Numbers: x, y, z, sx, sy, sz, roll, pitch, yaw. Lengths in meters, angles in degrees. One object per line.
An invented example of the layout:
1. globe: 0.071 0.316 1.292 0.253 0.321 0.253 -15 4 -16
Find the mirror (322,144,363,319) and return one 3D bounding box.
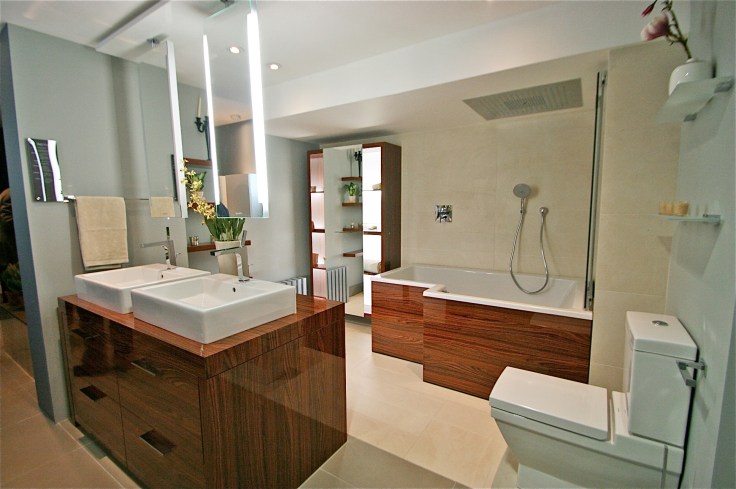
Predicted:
1. mirror: -0.291 -0.161 5.630 0.492 1.980 0.279 0 11 20

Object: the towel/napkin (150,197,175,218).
1. towel/napkin: -1.703 -0.312 3.960 0.185 0.120 0.024 6 14 27

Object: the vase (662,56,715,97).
1. vase: 1.903 -1.003 2.791 0.207 0.160 0.128 2 10 29

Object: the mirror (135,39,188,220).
1. mirror: -1.537 -0.904 3.740 0.186 1.374 0.321 -7 10 -20

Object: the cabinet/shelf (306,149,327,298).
1. cabinet/shelf: -0.669 -0.331 6.065 0.209 2.020 0.331 -9 44 -13

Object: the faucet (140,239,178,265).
1. faucet: -1.701 0.086 3.911 0.270 0.250 0.557 -7 9 -25

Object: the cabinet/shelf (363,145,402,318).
1. cabinet/shelf: 0.082 -0.200 5.557 0.365 2.017 0.359 8 7 32

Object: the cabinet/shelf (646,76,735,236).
1. cabinet/shelf: 1.984 -0.556 2.899 1.121 0.953 0.391 -8 10 -44
